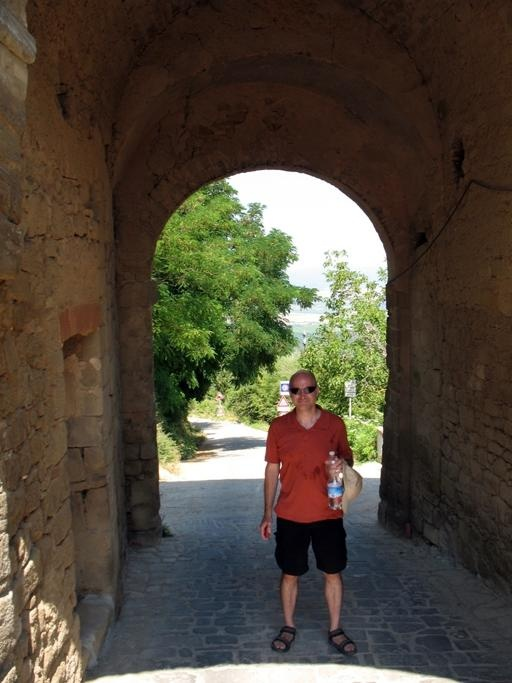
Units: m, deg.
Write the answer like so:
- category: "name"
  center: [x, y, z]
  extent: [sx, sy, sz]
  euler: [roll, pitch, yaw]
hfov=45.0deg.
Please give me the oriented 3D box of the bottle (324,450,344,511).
- category: "bottle"
  center: [0.381, 0.673, 2.970]
  extent: [0.090, 0.282, 0.088]
  euler: [-1, -5, 0]

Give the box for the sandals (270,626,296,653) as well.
- category: "sandals"
  center: [0.149, 1.448, 3.045]
  extent: [0.094, 0.088, 0.211]
  euler: [-4, -7, 31]

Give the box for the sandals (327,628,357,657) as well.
- category: "sandals"
  center: [0.418, 1.448, 2.967]
  extent: [0.062, 0.056, 0.133]
  euler: [1, -7, -16]

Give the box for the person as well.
- category: "person"
  center: [0.250, 0.823, 3.092]
  extent: [0.470, 1.344, 0.322]
  euler: [-2, -5, 10]
